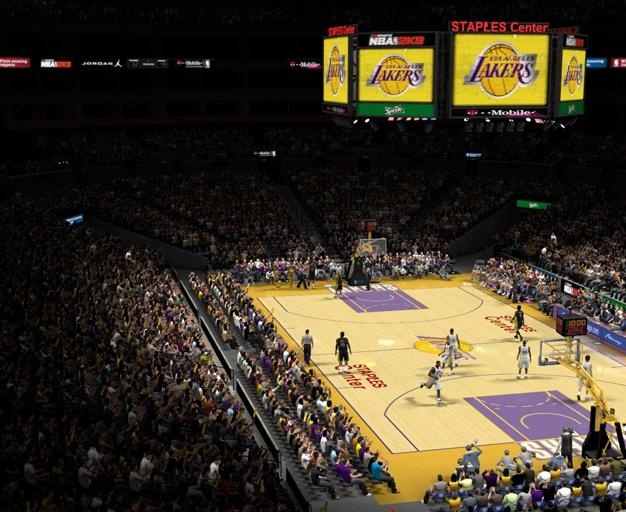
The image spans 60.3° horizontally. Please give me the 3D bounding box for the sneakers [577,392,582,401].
[{"bbox_3d":[11.179,5.904,22.586,0.138,0.456,0.179,-6,44,12],"label":"sneakers"}]

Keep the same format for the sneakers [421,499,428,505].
[{"bbox_3d":[3.277,7.163,15.667,0.154,0.094,0.137,11,8,13],"label":"sneakers"}]
